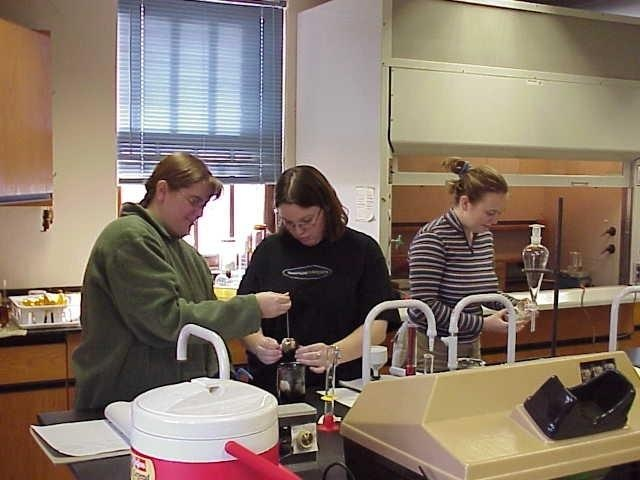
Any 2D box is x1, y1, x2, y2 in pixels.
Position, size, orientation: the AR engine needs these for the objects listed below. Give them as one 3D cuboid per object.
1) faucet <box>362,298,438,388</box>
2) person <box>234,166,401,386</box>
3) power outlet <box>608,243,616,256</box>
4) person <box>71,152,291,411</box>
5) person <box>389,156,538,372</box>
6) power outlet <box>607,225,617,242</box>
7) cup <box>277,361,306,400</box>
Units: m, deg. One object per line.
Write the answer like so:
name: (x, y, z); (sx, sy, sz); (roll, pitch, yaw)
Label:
faucet: (0.288, 0.326, 1.993); (0.241, 0.291, 0.433); (-1, 5, 10)
person: (-0.014, 0.255, 2.377); (0.715, 1.041, 0.638); (1, -1, -1)
power outlet: (2.263, 0.070, 4.332); (0.073, 0.076, 0.020); (19, 13, 12)
person: (-0.542, 0.130, 1.989); (0.662, 0.882, 0.414); (-5, 6, -26)
person: (0.672, 0.307, 2.767); (0.525, 1.414, 0.525); (-4, 17, -11)
power outlet: (2.257, -0.068, 4.318); (0.066, 0.114, 0.111); (-2, -2, 38)
cup: (-0.097, 0.489, 1.920); (0.107, 0.126, 0.110); (0, 3, 0)
